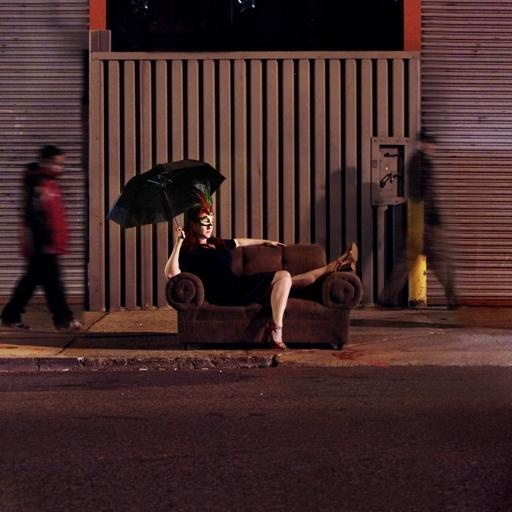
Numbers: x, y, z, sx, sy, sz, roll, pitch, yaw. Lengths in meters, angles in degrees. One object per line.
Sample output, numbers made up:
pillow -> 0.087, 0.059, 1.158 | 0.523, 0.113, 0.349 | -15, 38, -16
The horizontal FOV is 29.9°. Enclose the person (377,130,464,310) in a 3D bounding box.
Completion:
person -> 2.125, -0.471, 12.294 | 0.954, 2.267, 0.405 | -1, 9, 0

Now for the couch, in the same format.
couch -> 0.061, 0.397, 9.337 | 1.807, 0.882, 1.032 | -1, 9, -1

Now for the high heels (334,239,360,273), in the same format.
high heels -> 0.870, 0.042, 9.122 | 0.154, 0.413, 0.136 | 9, -9, 9

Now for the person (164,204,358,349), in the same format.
person -> 0.086, 0.165, 9.260 | 1.706, 1.376, 0.940 | -5, 3, 7

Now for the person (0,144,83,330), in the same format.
person -> -2.255, -0.162, 10.100 | 0.754, 1.956, 0.391 | -2, 9, -10
